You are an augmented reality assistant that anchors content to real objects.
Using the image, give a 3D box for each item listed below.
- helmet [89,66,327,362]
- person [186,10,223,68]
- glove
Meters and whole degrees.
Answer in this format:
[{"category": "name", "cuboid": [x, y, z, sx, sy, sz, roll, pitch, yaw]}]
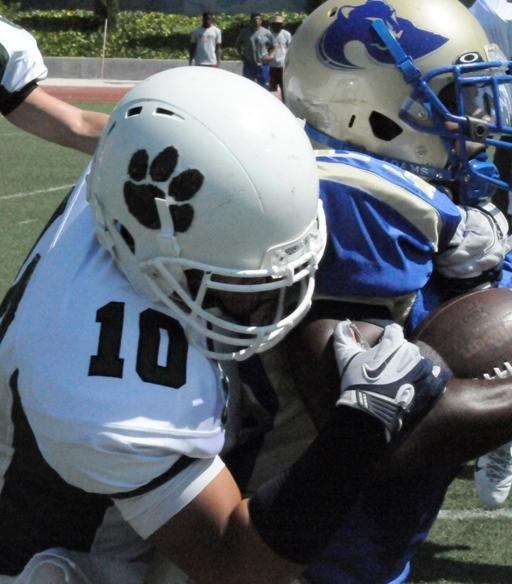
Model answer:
[{"category": "helmet", "cuboid": [-0.076, -0.164, 1.026, 0.364, 0.318, 0.511, -29, 59, -29]}, {"category": "person", "cuboid": [-0.844, -4.160, 9.777, 0.516, 1.144, 0.817, 4, 51, -7]}, {"category": "glove", "cuboid": [0.219, 0.148, 1.016, 0.183, 0.097, 0.213, 32, 30, 10]}]
